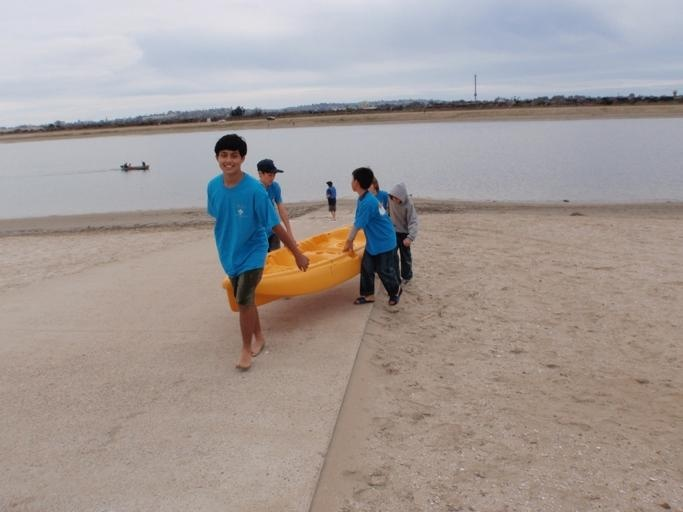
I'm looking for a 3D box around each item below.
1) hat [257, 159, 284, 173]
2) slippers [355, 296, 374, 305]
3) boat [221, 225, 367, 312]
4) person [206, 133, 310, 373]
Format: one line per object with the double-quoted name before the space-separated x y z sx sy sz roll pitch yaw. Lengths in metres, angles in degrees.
"hat" -0.974 -1.199 7.439 0.367 0.197 0.239 2 16 9
"slippers" 0.310 0.592 7.273 0.218 0.090 0.113 2 10 -10
"boat" -0.251 0.079 7.429 0.812 0.530 2.560 18 29 30
"person" -0.891 -0.060 5.743 0.790 2.326 0.768 -11 21 -11
